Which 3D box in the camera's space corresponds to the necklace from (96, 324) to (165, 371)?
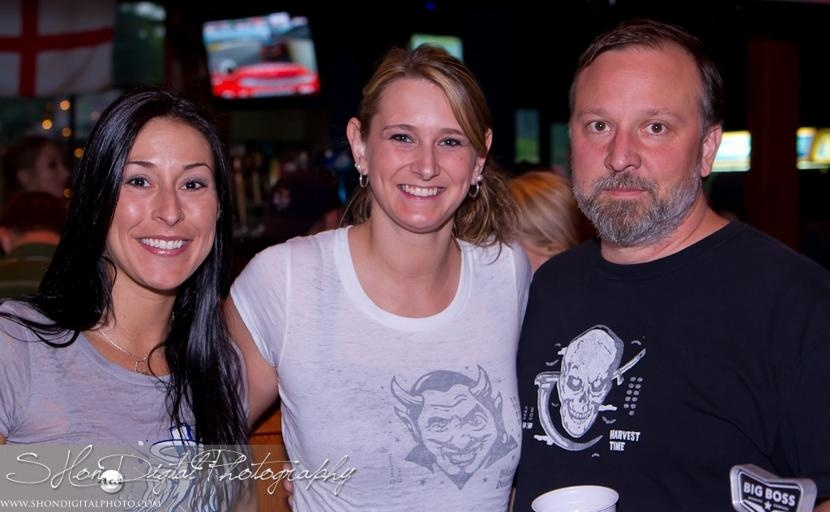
[{"bbox_3d":[-1.330,0.449,3.611,0.284,0.068,0.206,35,32,-6],"label":"necklace"}]
